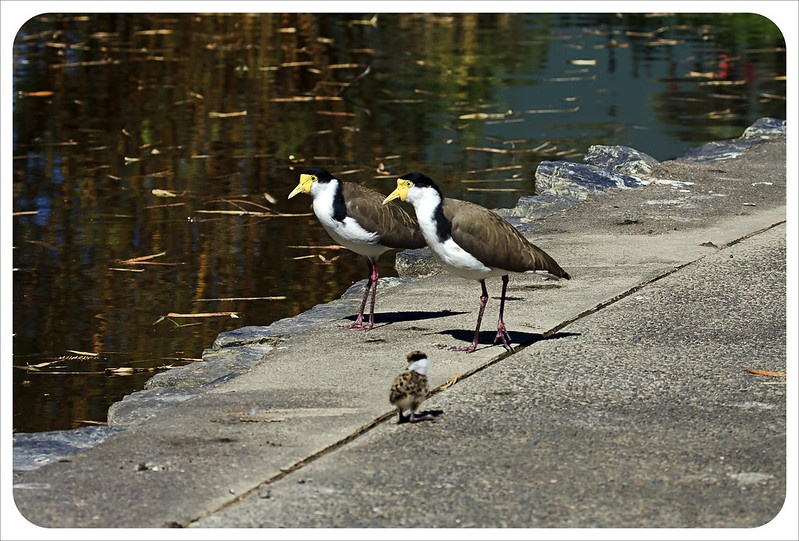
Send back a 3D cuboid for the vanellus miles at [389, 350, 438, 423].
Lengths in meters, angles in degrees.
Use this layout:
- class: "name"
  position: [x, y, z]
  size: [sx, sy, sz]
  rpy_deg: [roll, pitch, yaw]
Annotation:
- class: "vanellus miles"
  position: [0.121, 1.094, 9.316]
  size: [0.416, 0.660, 0.367]
  rpy_deg: [1, 6, 1]
